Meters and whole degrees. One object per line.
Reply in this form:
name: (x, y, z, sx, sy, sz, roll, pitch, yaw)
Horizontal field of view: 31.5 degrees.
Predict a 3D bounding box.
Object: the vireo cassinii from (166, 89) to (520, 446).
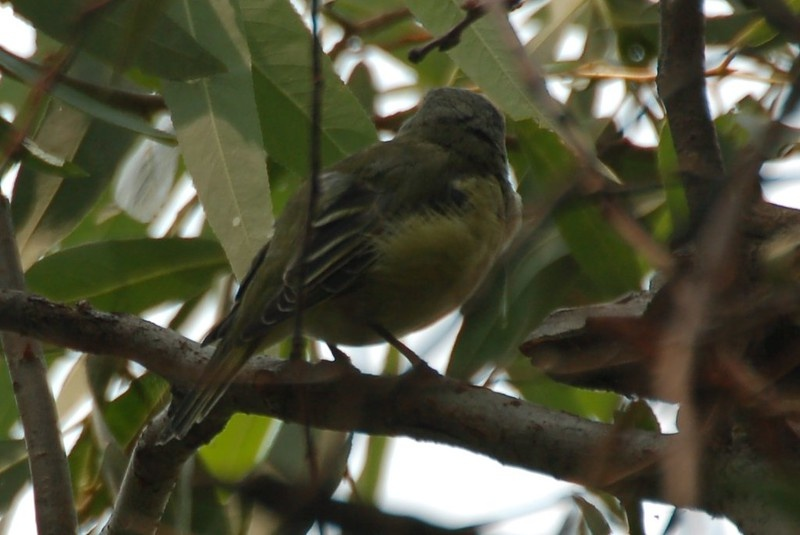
vireo cassinii: (-0.108, -0.086, 5.047, 1.089, 1.704, 0.435, 2, -42, 2)
